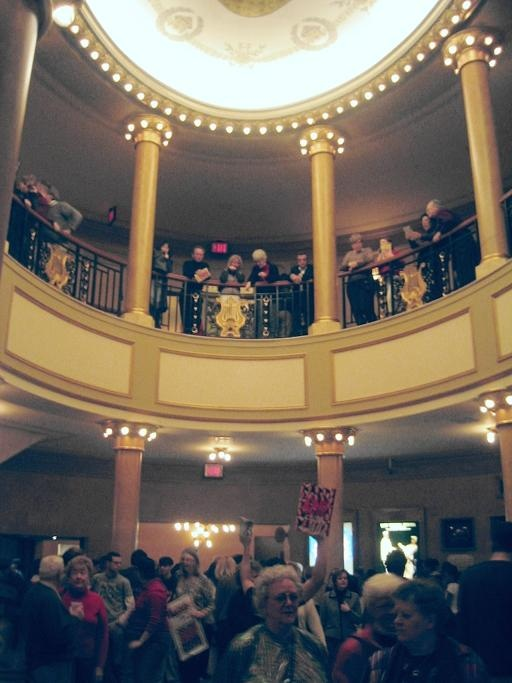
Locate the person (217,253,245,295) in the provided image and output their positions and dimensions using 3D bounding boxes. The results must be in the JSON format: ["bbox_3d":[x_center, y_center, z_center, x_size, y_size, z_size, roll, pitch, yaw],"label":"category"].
[{"bbox_3d":[-0.469,-1.295,11.105,0.478,1.036,0.932,2,-17,-4],"label":"person"}]

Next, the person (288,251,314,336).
[{"bbox_3d":[0.842,-0.910,11.011,0.456,1.716,0.966,0,-17,3],"label":"person"}]

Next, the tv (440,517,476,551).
[{"bbox_3d":[4.264,4.034,12.216,0.723,0.692,0.233,-8,-16,41],"label":"tv"}]

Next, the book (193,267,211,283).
[{"bbox_3d":[-1.015,-1.232,10.602,0.288,0.101,0.291,-21,-7,14],"label":"book"}]

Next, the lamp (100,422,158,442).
[{"bbox_3d":[-2.033,1.396,8.896,0.497,0.132,0.487,15,-22,-40],"label":"lamp"}]

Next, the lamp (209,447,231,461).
[{"bbox_3d":[-0.735,2.219,11.614,0.452,0.173,0.452,1,-25,-1],"label":"lamp"}]

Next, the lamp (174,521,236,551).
[{"bbox_3d":[-1.244,4.627,14.201,0.864,0.345,0.880,-2,-14,19],"label":"lamp"}]

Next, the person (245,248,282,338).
[{"bbox_3d":[0.150,-0.933,10.963,0.566,1.848,0.716,1,-17,2],"label":"person"}]

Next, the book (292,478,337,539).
[{"bbox_3d":[0.383,1.087,3.890,0.255,0.324,0.326,-2,-54,-5],"label":"book"}]

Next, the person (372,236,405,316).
[{"bbox_3d":[2.216,-1.085,9.698,0.454,1.689,1.223,-2,-17,11],"label":"person"}]

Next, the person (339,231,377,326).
[{"bbox_3d":[1.778,-1.102,10.135,0.599,2.025,1.045,-1,-17,9],"label":"person"}]

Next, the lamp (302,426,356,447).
[{"bbox_3d":[1.115,1.508,9.150,0.821,0.273,0.326,-8,-19,27],"label":"lamp"}]
